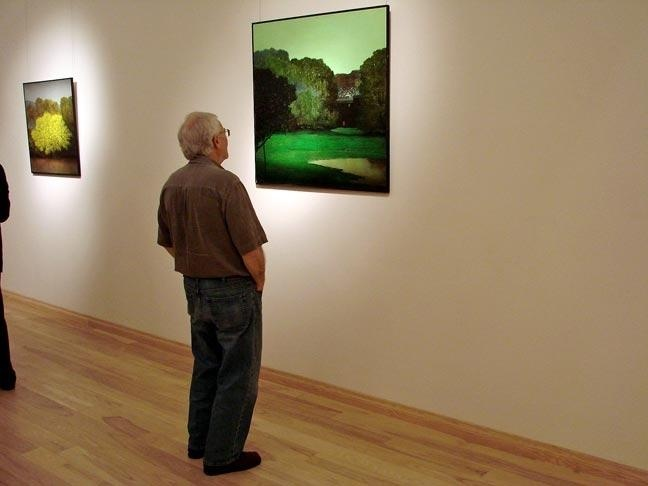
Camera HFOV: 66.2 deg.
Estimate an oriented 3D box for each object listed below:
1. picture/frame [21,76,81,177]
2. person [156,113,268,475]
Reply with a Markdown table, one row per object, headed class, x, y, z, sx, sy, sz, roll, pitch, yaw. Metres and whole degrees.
| class | x | y | z | sx | sy | sz | roll | pitch | yaw |
| --- | --- | --- | --- | --- | --- | --- | --- | --- | --- |
| picture/frame | -3.320 | -1.454 | 6.131 | 1.192 | 1.177 | 0.059 | 13 | 15 | 37 |
| person | -0.694 | 0.350 | 3.315 | 0.602 | 2.363 | 0.512 | -4 | 14 | -18 |
